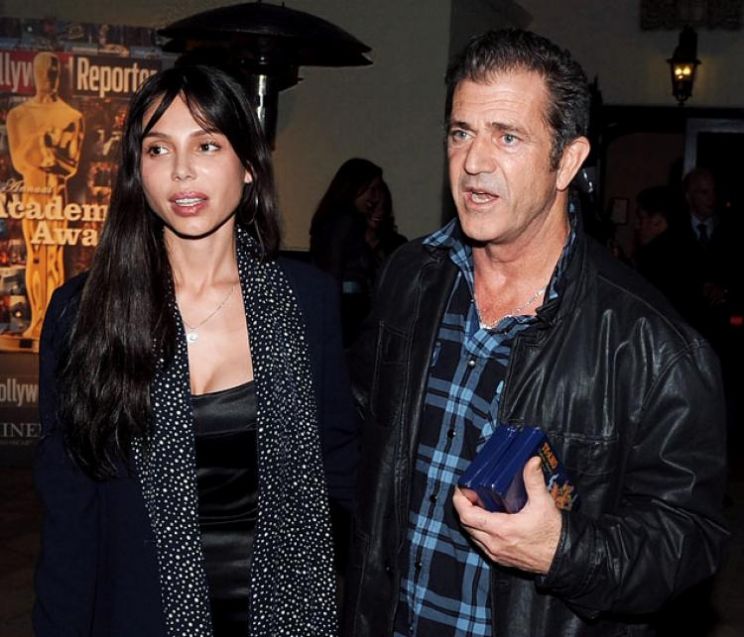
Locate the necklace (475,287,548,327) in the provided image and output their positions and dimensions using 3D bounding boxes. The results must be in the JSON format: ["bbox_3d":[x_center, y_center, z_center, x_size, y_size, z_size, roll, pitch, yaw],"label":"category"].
[{"bbox_3d":[0.375,-0.022,1.724,0.093,0.130,0.034,1,42,3],"label":"necklace"}]

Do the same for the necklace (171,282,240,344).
[{"bbox_3d":[-0.481,-0.012,1.895,0.154,0.150,0.006,-2,13,-22],"label":"necklace"}]
